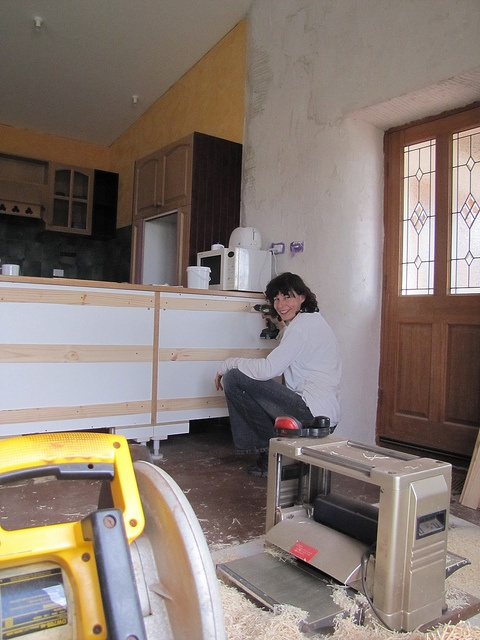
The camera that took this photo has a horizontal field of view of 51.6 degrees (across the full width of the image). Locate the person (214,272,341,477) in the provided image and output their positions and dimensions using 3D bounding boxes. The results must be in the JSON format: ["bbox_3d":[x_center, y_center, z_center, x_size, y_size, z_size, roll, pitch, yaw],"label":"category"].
[{"bbox_3d":[0.198,0.232,2.342,0.574,0.904,0.496,2,-3,26],"label":"person"}]

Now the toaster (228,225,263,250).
[{"bbox_3d":[0.028,-0.527,3.197,0.168,0.120,0.166,3,7,-3],"label":"toaster"}]

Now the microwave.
[{"bbox_3d":[-0.063,-0.319,3.280,0.319,0.257,0.440,3,0,-34],"label":"microwave"}]

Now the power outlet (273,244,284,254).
[{"bbox_3d":[0.240,-0.465,3.193,0.066,0.065,0.021,-2,-3,40],"label":"power outlet"}]

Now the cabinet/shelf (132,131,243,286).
[{"bbox_3d":[-0.461,-0.810,3.962,0.413,1.072,1.035,0,3,-35],"label":"cabinet/shelf"}]

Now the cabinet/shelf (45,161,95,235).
[{"bbox_3d":[-1.812,-1.268,5.193,0.426,0.656,0.196,0,9,-36],"label":"cabinet/shelf"}]
